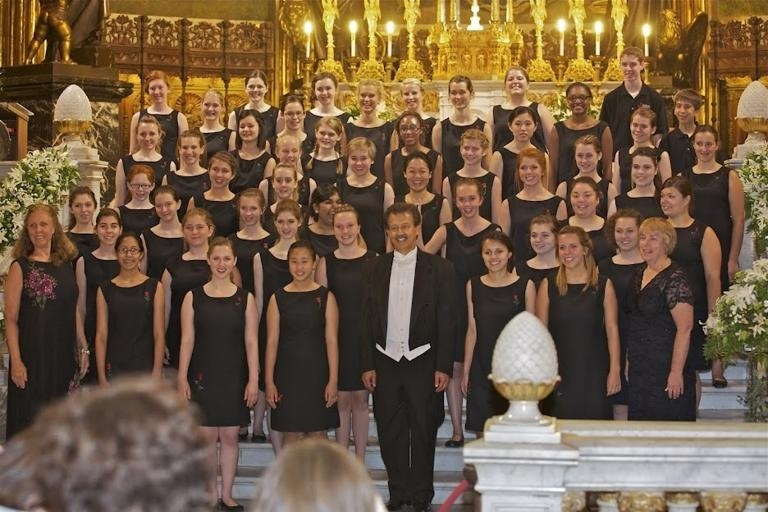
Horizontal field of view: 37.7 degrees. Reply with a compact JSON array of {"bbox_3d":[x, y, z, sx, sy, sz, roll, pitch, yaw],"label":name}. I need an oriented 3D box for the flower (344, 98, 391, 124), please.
[{"bbox_3d":[-0.164,-1.528,11.613,0.554,0.238,0.538,0,3,7],"label":"flower"}]

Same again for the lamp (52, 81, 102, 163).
[{"bbox_3d":[-2.989,-1.293,10.887,0.563,0.693,0.523,3,5,17],"label":"lamp"}]

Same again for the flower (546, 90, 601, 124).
[{"bbox_3d":[1.991,-1.560,11.778,0.730,0.366,0.649,1,10,-1],"label":"flower"}]
